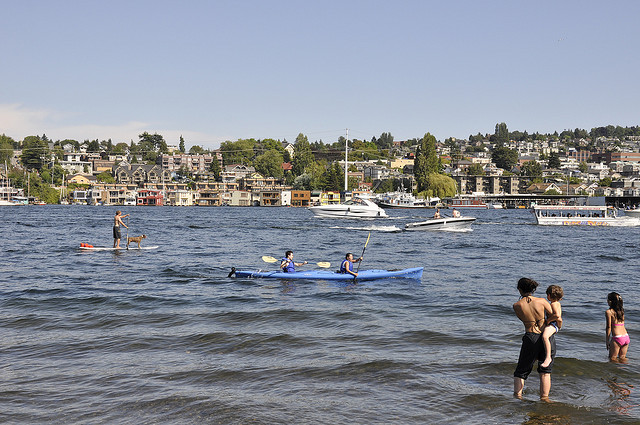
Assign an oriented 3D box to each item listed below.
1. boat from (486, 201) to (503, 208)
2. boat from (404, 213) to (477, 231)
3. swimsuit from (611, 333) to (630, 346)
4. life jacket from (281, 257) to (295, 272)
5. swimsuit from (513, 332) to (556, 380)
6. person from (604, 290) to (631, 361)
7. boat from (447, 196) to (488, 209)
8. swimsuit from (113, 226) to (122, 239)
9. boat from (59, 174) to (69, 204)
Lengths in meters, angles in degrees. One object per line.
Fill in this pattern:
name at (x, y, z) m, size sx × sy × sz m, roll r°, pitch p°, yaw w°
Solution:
boat at (33.354, -1.566, 176.189) m, size 1.725 × 1.342 × 6.304 m, roll -2°, pitch -4°, yaw 27°
boat at (10.010, 0.811, 76.819) m, size 6.535 × 1.640 × 1.887 m, roll -2°, pitch 6°, yaw -2°
swimsuit at (10.927, 4.615, 33.697) m, size 0.565 × 0.314 × 0.403 m, roll 1°, pitch 0°, yaw -4°
life jacket at (-1.489, 2.496, 44.834) m, size 0.545 × 0.828 × 0.695 m, roll -1°, pitch 3°, yaw 17°
swimsuit at (7.546, 4.870, 31.619) m, size 1.542 × 1.438 × 1.765 m, roll 0°, pitch -4°, yaw 0°
person at (10.530, 4.132, 33.426) m, size 1.120 × 2.574 × 1.134 m, roll -1°, pitch -4°, yaw 23°
boat at (25.832, -1.813, 161.977) m, size 4.933 × 2.105 × 11.971 m, roll 1°, pitch 1°, yaw 22°
swimsuit at (-11.977, 1.181, 54.305) m, size 0.295 × 0.754 × 0.367 m, roll 0°, pitch 3°, yaw -1°
boat at (-51.809, -4.745, 186.597) m, size 1.759 × 5.771 × 17.258 m, roll -1°, pitch 2°, yaw -15°
